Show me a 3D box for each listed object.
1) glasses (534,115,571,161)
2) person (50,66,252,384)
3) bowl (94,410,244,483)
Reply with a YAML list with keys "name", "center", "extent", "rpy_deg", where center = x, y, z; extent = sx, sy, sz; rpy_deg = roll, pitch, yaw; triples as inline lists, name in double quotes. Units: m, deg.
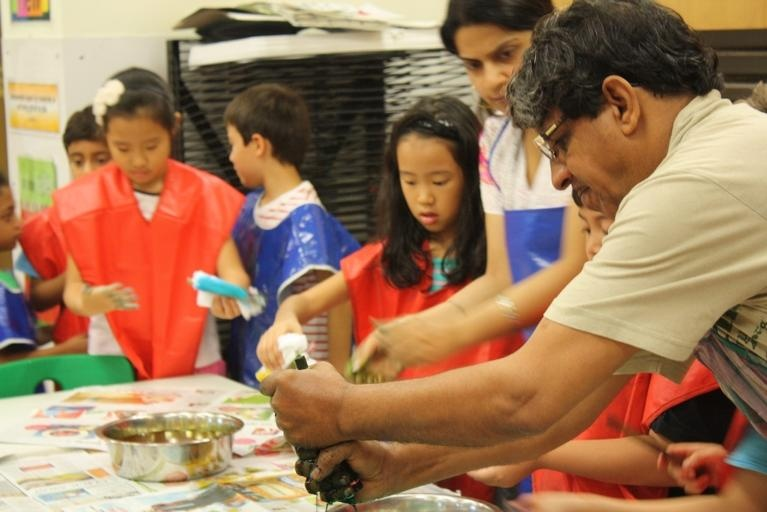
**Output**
- name: "glasses"
  center: [0.393, -0.276, 1.692]
  extent: [0.027, 0.080, 0.077]
  rpy_deg: [36, 2, 16]
- name: "person"
  center: [-0.975, -0.114, 3.084]
  extent: [0.774, 1.359, 0.518]
  rpy_deg: [-7, 15, -23]
- name: "bowl"
  center: [-0.667, 0.591, 2.223]
  extent: [0.411, 0.133, 0.420]
  rpy_deg: [-5, 1, 0]
